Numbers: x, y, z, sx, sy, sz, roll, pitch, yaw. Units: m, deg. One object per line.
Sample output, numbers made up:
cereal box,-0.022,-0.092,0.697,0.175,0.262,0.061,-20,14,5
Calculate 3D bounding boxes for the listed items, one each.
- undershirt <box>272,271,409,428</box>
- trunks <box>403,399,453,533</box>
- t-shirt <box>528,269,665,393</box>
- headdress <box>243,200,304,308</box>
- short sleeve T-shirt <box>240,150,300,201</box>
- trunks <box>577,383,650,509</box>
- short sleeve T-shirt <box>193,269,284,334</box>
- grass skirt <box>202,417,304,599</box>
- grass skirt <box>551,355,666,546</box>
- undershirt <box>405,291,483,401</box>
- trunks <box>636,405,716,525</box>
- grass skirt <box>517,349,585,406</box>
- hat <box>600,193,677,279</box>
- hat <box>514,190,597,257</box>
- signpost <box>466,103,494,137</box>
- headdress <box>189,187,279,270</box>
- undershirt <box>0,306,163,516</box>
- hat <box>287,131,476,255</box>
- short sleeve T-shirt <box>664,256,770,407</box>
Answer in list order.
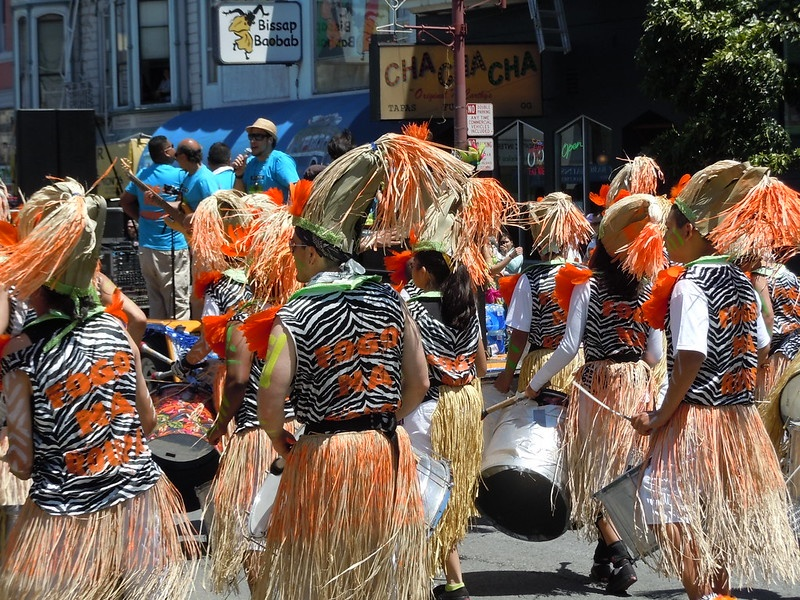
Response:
undershirt,-0.239,0.213,4.499,0.518,0.613,0.183,0,3,-1
trunks,0.147,0.760,4.921,0.261,0.316,0.283,20,-9,13
t-shirt,1.029,0.222,5.983,0.532,0.722,0.374,37,-10,-24
headdress,-0.633,-0.195,5.754,0.382,0.743,0.525,0,13,-6
short sleeve T-shirt,-1.103,-0.978,8.961,0.477,0.479,0.180,0,1,14
trunks,1.109,0.777,5.640,0.359,0.733,0.489,-2,-10,35
short sleeve T-shirt,-0.889,0.040,5.894,0.443,0.210,0.361,-11,-11,34
grass skirt,-0.707,1.097,5.756,0.578,0.879,0.310,-7,-19,29
grass skirt,1.063,0.904,6.306,0.674,1.189,0.889,9,-13,-20
undershirt,0.315,0.245,5.848,0.335,0.538,0.293,-2,20,10
trunks,1.282,0.777,5.157,0.376,0.622,0.313,10,-14,-2
grass skirt,0.871,0.496,6.795,0.254,0.392,0.219,-6,30,-5
hat,1.310,-0.337,5.796,0.340,0.483,0.407,6,5,-44
hat,1.026,-0.392,6.980,0.326,0.472,0.452,4,-24,1
signpost,0.818,-1.850,11.230,0.383,0.457,0.057,-5,8,-25
headdress,-0.922,-0.394,6.080,0.444,0.523,0.411,16,-5,-38
undershirt,-1.329,0.458,4.494,0.602,0.922,0.476,-21,6,-21
hat,-0.066,-0.443,4.589,0.732,0.493,0.156,0,3,-16
short sleeve T-shirt,1.510,0.150,5.205,0.635,0.687,0.343,-4,-3,-45
